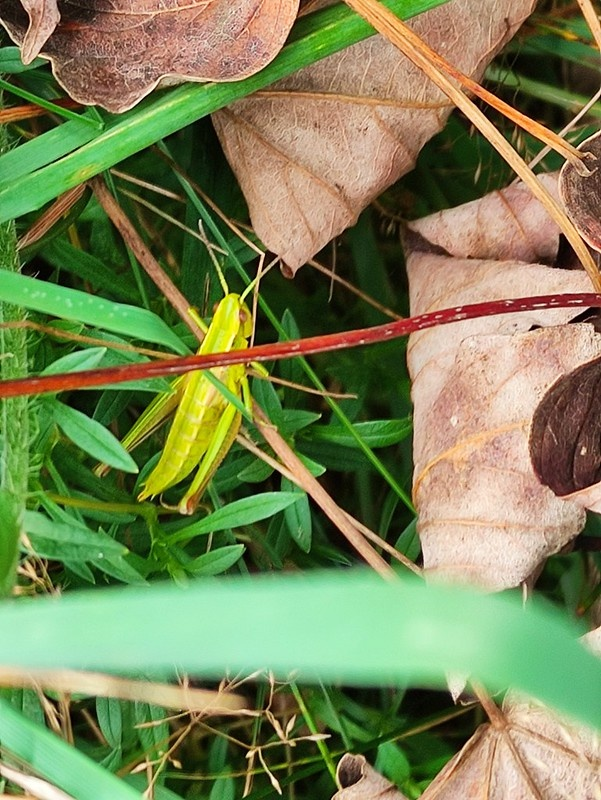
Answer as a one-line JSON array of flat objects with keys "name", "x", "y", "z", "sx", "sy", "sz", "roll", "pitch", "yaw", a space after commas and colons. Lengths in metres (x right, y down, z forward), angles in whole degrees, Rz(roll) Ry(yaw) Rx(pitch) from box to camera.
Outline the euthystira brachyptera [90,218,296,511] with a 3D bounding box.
[{"name": "euthystira brachyptera", "x": -0.078, "y": -0.044, "z": 1.169, "sx": 0.281, "sy": 0.146, "sz": 0.369, "roll": 32, "pitch": 102, "yaw": 22}]
